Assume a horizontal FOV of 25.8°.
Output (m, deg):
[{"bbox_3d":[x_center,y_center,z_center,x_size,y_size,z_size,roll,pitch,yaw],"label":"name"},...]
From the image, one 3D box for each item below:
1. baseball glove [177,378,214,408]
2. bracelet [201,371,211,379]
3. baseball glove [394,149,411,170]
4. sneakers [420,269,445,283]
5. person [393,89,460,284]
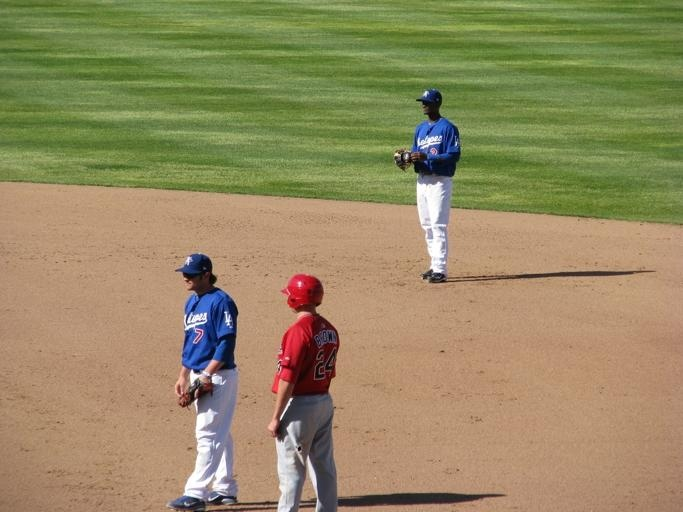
[{"bbox_3d":[-2.777,2.618,28.408,0.656,0.256,0.405,-36,-15,-1],"label":"baseball glove"},{"bbox_3d":[-2.565,2.248,28.387,0.179,0.137,0.080,1,1,-1],"label":"bracelet"},{"bbox_3d":[1.385,-2.051,33.301,0.355,0.459,0.454,-4,25,1],"label":"baseball glove"},{"bbox_3d":[2.031,0.455,33.129,0.501,0.222,0.224,6,5,-15],"label":"sneakers"},{"bbox_3d":[1.968,-1.507,33.144,1.220,4.198,1.065,1,1,-2],"label":"person"}]
